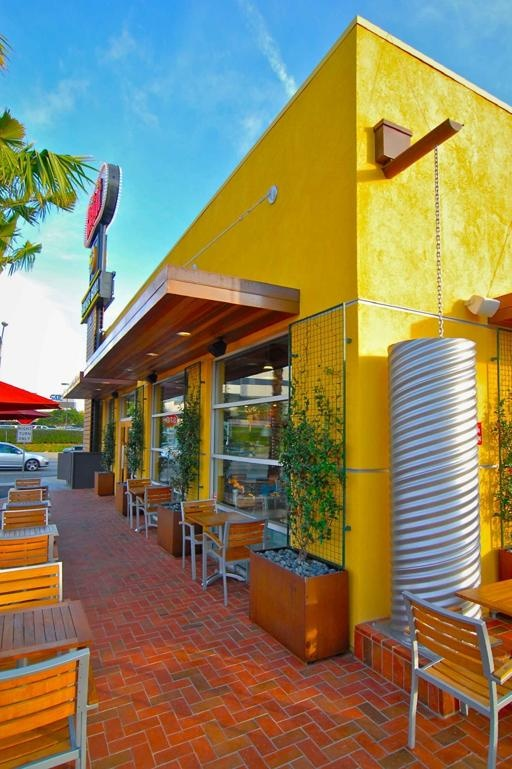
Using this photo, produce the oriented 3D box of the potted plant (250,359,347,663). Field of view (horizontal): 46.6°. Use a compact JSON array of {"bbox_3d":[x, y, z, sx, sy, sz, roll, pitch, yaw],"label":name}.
[{"bbox_3d":[0.382,1.033,4.778,0.539,2.027,0.872,2,-3,-26],"label":"potted plant"}]
